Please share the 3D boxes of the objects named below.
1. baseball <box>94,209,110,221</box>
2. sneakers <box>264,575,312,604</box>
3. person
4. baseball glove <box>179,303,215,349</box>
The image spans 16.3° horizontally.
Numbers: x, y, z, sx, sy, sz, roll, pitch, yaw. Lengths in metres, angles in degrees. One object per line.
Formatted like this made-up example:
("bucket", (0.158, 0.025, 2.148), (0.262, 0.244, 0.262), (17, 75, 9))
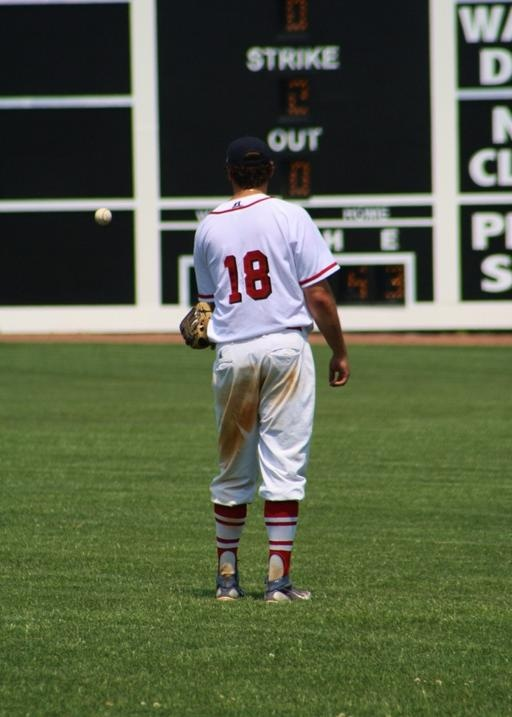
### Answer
("baseball", (-1.918, -1.754, 21.858), (0.133, 0.192, 0.139), (2, 4, 35))
("sneakers", (0.179, 1.286, 10.110), (0.263, 0.168, 0.122), (-1, 1, -21))
("person", (0.073, 0.045, 10.175), (0.841, 2.522, 0.646), (-1, 9, -4))
("baseball glove", (-0.343, -0.191, 10.344), (0.162, 0.283, 0.088), (25, 15, 29))
